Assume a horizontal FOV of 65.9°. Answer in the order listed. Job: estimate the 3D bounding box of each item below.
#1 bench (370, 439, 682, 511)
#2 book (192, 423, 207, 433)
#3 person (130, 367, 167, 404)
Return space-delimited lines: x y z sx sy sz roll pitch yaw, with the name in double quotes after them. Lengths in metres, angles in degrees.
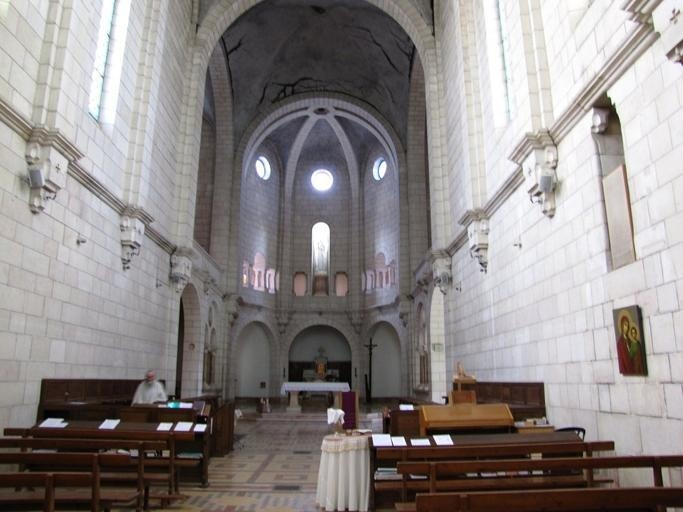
2.027 2.686 6.344 3.572 0.839 2.906 -6 -19 13 "bench"
-2.200 2.660 8.186 0.196 0.123 0.294 4 -19 -17 "book"
-3.958 2.888 10.858 0.691 0.993 0.315 6 -30 -25 "person"
